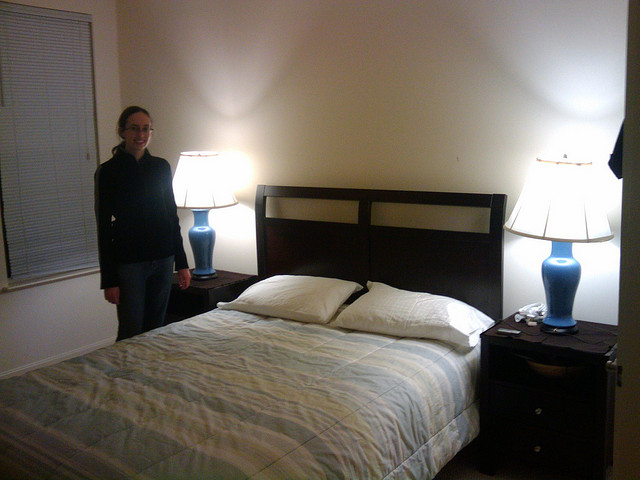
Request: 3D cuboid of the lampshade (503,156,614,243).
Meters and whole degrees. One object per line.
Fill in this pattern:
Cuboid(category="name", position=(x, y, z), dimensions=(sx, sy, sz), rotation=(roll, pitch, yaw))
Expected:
Cuboid(category="lampshade", position=(1.305, -0.202, 2.653), dimensions=(0.559, 0.454, 0.619), rotation=(6, -1, -24))

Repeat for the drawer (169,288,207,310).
Cuboid(category="drawer", position=(-0.967, 0.426, 3.608), dimensions=(0.188, 0.128, 0.100), rotation=(8, 14, 24))

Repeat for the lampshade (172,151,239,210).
Cuboid(category="lampshade", position=(-0.902, -0.459, 3.725), dimensions=(0.508, 0.382, 0.570), rotation=(16, 17, 43))

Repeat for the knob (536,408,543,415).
Cuboid(category="knob", position=(1.091, 0.849, 2.423), dimensions=(0.019, 0.025, 0.009), rotation=(4, -7, 36))

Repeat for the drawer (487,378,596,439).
Cuboid(category="drawer", position=(1.086, 0.875, 2.638), dimensions=(0.630, 0.213, 0.459), rotation=(13, -9, -3))

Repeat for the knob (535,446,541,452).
Cuboid(category="knob", position=(1.091, 1.037, 2.433), dimensions=(0.024, 0.018, 0.024), rotation=(17, -7, 22))
